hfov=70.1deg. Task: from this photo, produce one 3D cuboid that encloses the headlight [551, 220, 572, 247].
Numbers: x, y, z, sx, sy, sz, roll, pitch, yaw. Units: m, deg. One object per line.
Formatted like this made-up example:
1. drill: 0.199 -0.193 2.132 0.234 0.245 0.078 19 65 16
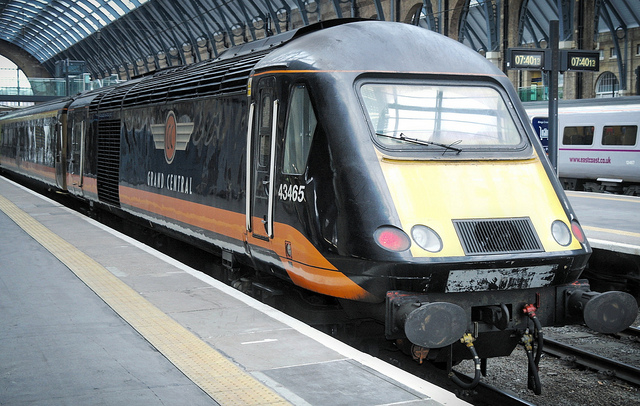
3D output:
1. headlight: 2.794 0.363 5.328 0.261 0.286 0.102 -5 -10 -16
